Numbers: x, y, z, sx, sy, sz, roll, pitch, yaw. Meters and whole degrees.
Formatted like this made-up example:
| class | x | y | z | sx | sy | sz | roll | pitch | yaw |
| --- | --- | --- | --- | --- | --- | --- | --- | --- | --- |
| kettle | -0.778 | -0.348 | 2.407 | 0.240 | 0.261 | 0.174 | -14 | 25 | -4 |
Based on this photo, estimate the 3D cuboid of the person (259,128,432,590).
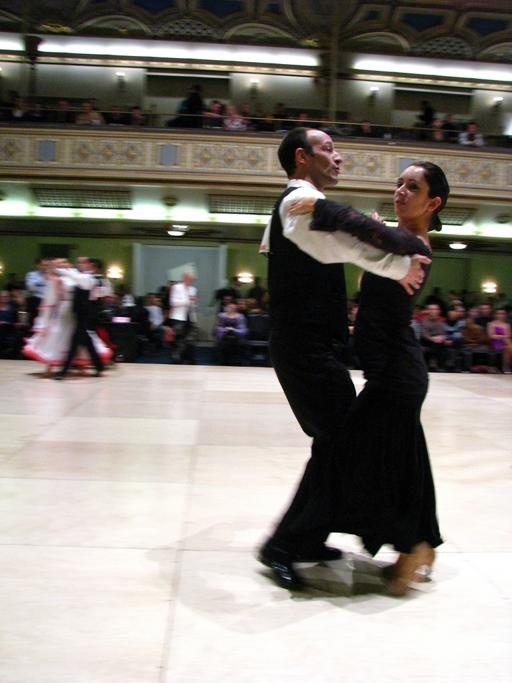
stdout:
| class | x | y | z | sx | sy | sz | roll | pitch | yaw |
| --- | --- | --- | --- | --- | --- | --- | --- | --- | --- |
| person | 0.216 | 0.039 | 2.090 | 0.428 | 1.451 | 0.525 | -6 | 10 | -27 |

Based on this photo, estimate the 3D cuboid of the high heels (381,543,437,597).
| class | x | y | z | sx | sy | sz | roll | pitch | yaw |
| --- | --- | --- | --- | --- | --- | --- | --- | --- | --- |
| high heels | 0.504 | 0.723 | 2.122 | 0.124 | 0.189 | 0.081 | 40 | 11 | 2 |
